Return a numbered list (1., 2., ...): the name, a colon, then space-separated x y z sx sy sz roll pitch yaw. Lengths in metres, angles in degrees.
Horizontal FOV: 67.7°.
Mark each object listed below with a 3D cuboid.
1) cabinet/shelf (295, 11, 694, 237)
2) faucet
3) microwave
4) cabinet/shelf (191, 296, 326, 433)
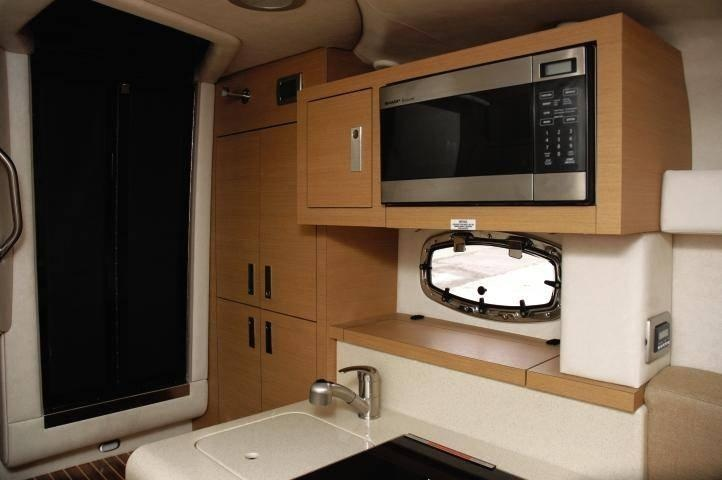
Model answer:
1. cabinet/shelf: 0.602 -0.459 2.640 0.962 0.706 1.685 -7 9 -44
2. faucet: -0.072 0.684 2.410 0.360 0.230 0.115 4 -3 -33
3. microwave: 0.606 -0.411 2.339 0.570 0.575 0.988 -4 5 -41
4. cabinet/shelf: -0.554 0.665 2.978 0.972 0.836 0.338 0 -2 39
